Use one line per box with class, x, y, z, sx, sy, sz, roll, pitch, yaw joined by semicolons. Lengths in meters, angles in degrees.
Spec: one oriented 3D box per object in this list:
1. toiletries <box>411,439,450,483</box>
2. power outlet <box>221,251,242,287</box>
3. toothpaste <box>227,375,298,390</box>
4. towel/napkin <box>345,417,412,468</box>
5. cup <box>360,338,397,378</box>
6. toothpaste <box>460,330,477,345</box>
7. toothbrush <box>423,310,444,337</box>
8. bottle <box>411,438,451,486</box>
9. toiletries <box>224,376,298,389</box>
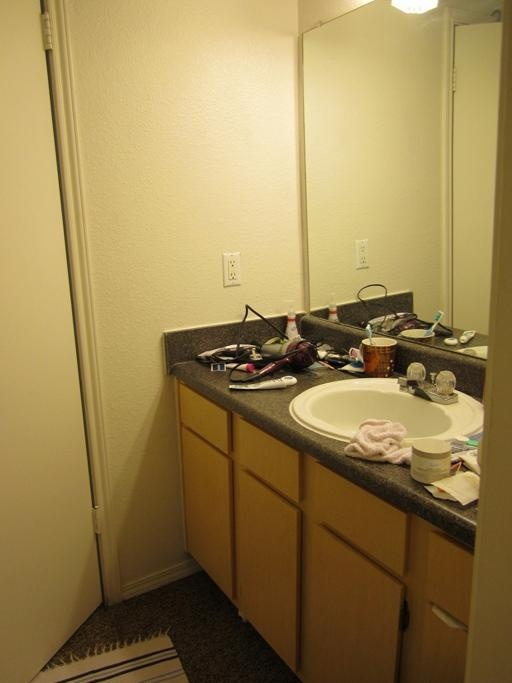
toiletries;0.296;0.198;0.913;0.063;0.063;0.064;-12;24;-20
power outlet;-0.085;-0.246;1.799;0.094;0.153;0.024;-12;19;-39
toothpaste;0.034;0.106;1.495;0.226;0.041;0.062;1;-4;-18
towel/napkin;0.251;0.187;1.047;0.121;0.135;0.030;0;24;24
cup;0.347;0.050;1.565;0.091;0.104;0.110;-11;15;-40
toothpaste;0.550;-0.009;1.393;0.010;0.037;0.021;19;28;-30
toothbrush;0.495;-0.047;1.485;0.009;0.082;0.021;4;21;-27
bottle;0.297;0.203;0.911;0.061;0.061;0.060;-10;20;-21
toiletries;0.022;0.112;1.490;0.220;0.040;0.062;1;-3;-18
